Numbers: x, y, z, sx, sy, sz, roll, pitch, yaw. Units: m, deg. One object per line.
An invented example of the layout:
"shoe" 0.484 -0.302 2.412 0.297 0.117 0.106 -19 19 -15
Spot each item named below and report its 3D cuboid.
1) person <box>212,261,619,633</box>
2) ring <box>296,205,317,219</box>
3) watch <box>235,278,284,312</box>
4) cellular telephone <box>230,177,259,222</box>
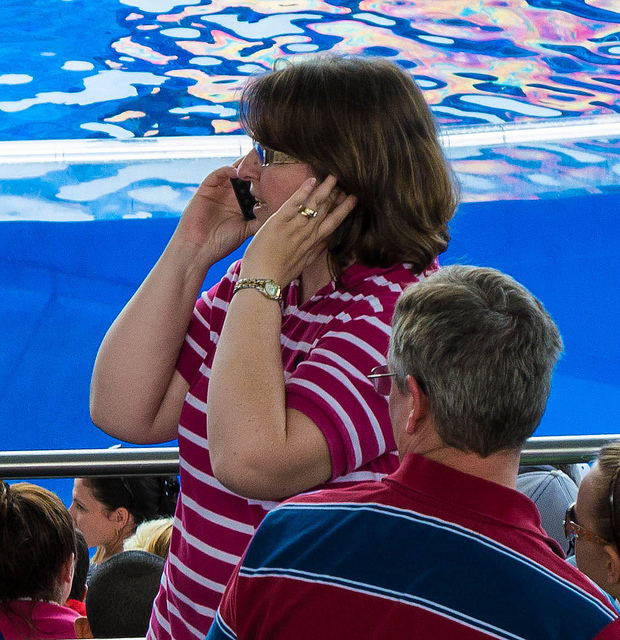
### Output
"person" 0.210 0.308 2.725 1.102 0.835 0.516 11 1 2
"ring" -0.007 -0.269 2.921 0.044 0.031 0.010 26 55 14
"watch" -0.119 -0.064 2.869 0.097 0.045 0.087 -5 -13 34
"cellular telephone" -0.186 -0.347 3.374 0.059 0.125 0.089 -5 20 -43
